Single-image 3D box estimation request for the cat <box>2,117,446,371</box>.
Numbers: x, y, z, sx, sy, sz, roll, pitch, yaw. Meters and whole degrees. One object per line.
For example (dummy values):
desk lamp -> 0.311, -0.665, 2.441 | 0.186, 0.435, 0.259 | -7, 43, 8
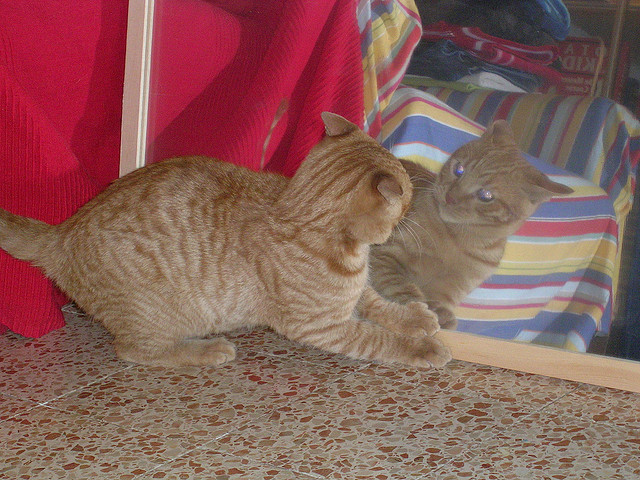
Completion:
cat -> -0.205, 0.010, 1.711 | 1.081, 0.575, 0.397 | 7, 37, -7
